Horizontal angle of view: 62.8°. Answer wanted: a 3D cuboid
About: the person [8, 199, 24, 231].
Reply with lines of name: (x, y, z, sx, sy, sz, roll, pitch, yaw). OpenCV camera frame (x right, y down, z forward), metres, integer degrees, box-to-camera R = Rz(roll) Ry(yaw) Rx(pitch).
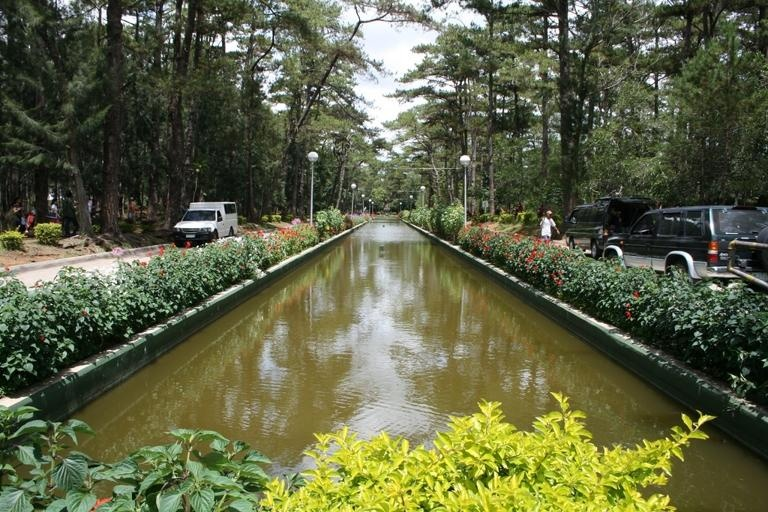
person: (-14.774, -1.640, 25.167, 0.544, 1.283, 2.240, -4, 8, -30)

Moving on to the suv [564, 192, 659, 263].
suv: (7.553, -1.187, 21.407, 1.563, 1.639, 2.816, -1, 12, -7)

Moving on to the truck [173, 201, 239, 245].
truck: (-8.498, -1.572, 30.198, 2.025, 2.174, 5.180, 0, 4, 4)
